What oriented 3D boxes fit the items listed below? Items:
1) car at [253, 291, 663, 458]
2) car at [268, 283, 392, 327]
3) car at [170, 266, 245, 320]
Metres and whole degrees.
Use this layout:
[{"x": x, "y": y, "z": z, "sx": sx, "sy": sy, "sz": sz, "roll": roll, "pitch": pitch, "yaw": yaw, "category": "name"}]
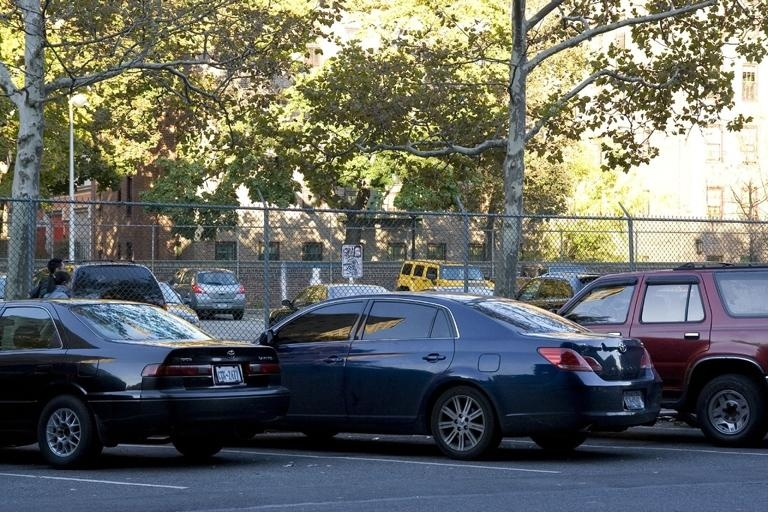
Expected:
[{"x": 0.854, "y": 1.572, "z": 15.971, "sx": 5.640, "sy": 1.459, "sz": 2.352, "roll": 1, "pitch": -2, "yaw": 29, "category": "car"}, {"x": -1.207, "y": 1.046, "z": 22.245, "sx": 2.251, "sy": 0.656, "sz": 1.101, "roll": -4, "pitch": -3, "yaw": 35, "category": "car"}, {"x": -3.248, "y": 0.713, "z": 21.228, "sx": 0.874, "sy": 0.581, "sz": 1.632, "roll": 1, "pitch": 2, "yaw": -19, "category": "car"}]
